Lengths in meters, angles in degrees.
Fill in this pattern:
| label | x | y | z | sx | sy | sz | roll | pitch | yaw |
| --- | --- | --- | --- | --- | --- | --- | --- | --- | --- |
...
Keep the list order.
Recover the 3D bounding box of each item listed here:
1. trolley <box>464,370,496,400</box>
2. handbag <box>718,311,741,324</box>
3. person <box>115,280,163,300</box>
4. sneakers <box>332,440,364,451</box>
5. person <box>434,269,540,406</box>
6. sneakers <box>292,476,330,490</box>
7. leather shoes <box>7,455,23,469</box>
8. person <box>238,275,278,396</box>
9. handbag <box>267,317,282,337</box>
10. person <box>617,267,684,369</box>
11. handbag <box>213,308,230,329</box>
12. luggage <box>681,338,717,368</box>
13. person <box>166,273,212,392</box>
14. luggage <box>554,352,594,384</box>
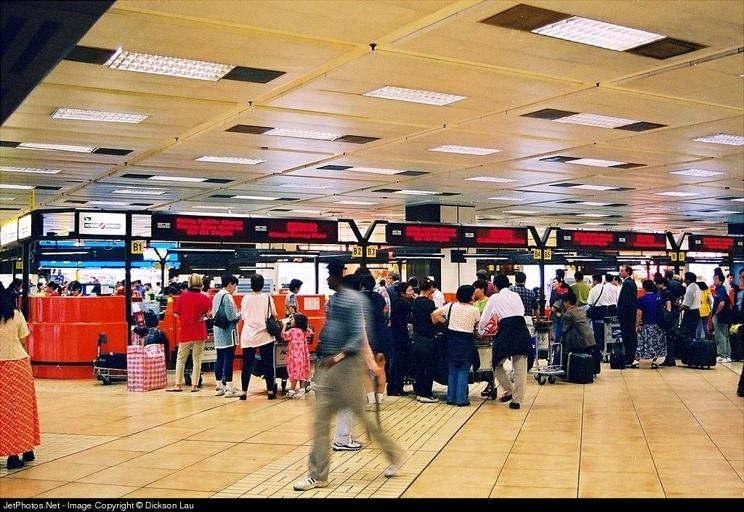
| label | x | y | z | sx | sy | sz | roll | pitch | yaw |
| --- | --- | --- | --- | --- | --- | --- | --- | --- | --- |
| trolley | 1.864 | 2.078 | 9.857 | 0.670 | 0.495 | 0.659 | -2 | -6 | 17 |
| handbag | 8.157 | 1.391 | 13.635 | 0.251 | 0.304 | 0.475 | 4 | -6 | -31 |
| person | -6.612 | 0.963 | 16.904 | 0.987 | 0.482 | 0.507 | -1 | 1 | -42 |
| sneakers | -0.287 | 2.200 | 6.917 | 0.359 | 0.104 | 0.119 | -1 | -5 | 1 |
| person | 2.100 | 1.296 | 9.305 | 0.726 | 2.053 | 0.949 | -2 | -6 | 25 |
| sneakers | -0.601 | 2.183 | 5.743 | 0.381 | 0.097 | 0.117 | 4 | -10 | -19 |
| leather shoes | -3.857 | 2.211 | 6.452 | 0.159 | 0.148 | 0.175 | 3 | -6 | -27 |
| person | -1.864 | 1.327 | 9.785 | 0.573 | 2.022 | 0.389 | 1 | -6 | -8 |
| handbag | -1.598 | 1.166 | 9.827 | 0.215 | 0.356 | 0.389 | 0 | -5 | 5 |
| person | 6.085 | 1.350 | 13.217 | 0.940 | 2.173 | 1.577 | -3 | -6 | 29 |
| handbag | -2.559 | 1.039 | 10.036 | 0.343 | 0.353 | 0.107 | -2 | -6 | 23 |
| luggage | 7.038 | 2.107 | 12.881 | 0.538 | 0.557 | 0.732 | -1 | 2 | -24 |
| person | -3.237 | 1.360 | 10.654 | 0.611 | 2.070 | 0.656 | 4 | -7 | -30 |
| luggage | 3.824 | 2.113 | 11.258 | 0.441 | 0.515 | 0.673 | 3 | -4 | -10 |
